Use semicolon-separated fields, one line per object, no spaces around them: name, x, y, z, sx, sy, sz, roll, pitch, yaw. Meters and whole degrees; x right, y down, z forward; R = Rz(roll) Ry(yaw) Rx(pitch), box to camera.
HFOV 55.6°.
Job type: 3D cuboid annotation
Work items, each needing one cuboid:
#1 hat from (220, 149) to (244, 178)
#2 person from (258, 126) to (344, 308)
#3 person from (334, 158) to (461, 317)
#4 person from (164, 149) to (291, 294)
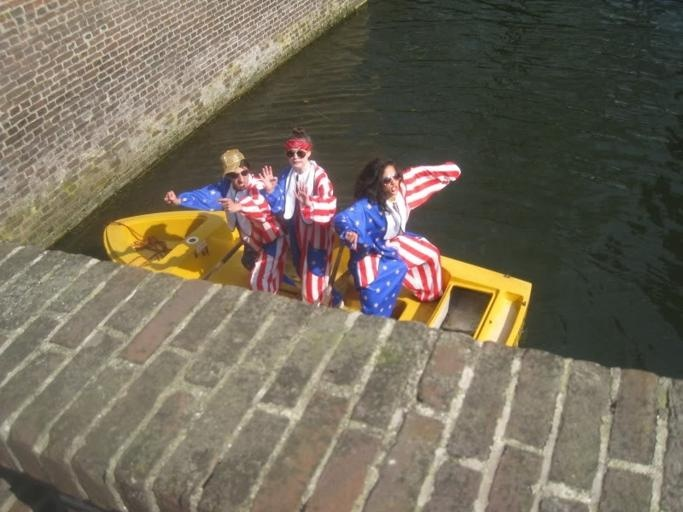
hat;-0.956;-0.823;5.699;0.195;0.228;0.249;-14;54;-14
person;-0.325;-0.183;5.815;0.526;1.278;1.015;-16;53;-16
person;0.428;-0.115;5.717;1.157;1.187;0.509;-21;30;-21
person;-0.971;-0.130;6.023;1.001;1.656;0.938;11;25;35
